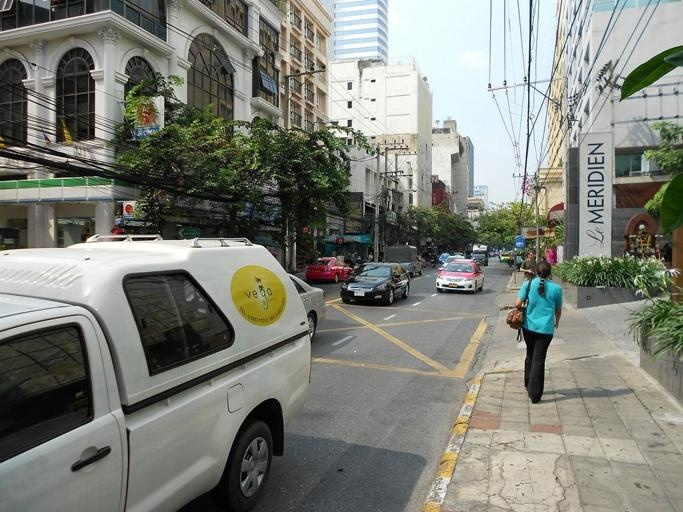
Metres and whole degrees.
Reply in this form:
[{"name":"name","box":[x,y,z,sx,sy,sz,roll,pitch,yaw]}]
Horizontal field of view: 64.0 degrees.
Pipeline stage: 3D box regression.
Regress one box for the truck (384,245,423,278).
[{"name":"truck","box":[4.659,0.300,40.416,1.671,1.588,2.845,0,4,23]}]

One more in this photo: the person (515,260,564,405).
[{"name":"person","box":[2.828,1.056,7.813,0.597,1.932,0.441,-6,5,-22]}]

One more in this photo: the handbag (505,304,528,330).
[{"name":"handbag","box":[2.534,0.875,8.072,0.263,0.554,0.407,2,-2,2]}]
